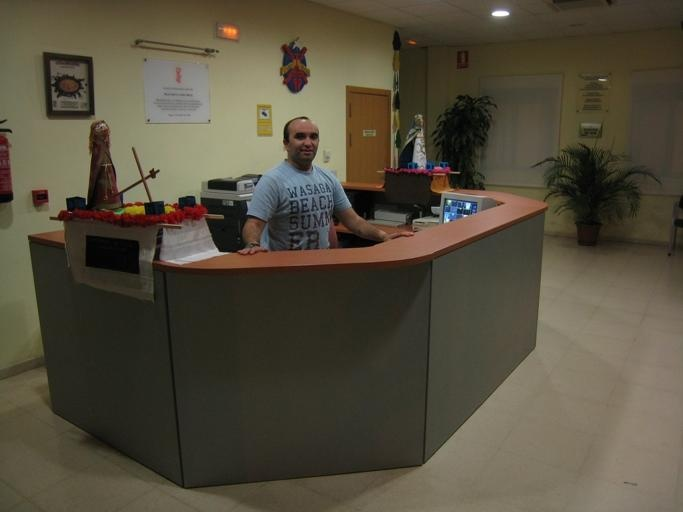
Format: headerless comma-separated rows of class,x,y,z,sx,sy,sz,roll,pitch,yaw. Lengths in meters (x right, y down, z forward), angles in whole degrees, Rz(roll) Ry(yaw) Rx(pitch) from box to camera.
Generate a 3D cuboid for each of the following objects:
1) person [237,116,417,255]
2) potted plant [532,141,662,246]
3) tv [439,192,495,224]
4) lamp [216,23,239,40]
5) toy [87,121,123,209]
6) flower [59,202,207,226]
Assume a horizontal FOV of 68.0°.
person,-0.205,-0.399,3.267,1.087,1.020,0.610,-6,10,-29
potted plant,4.012,-1.060,8.136,1.359,1.453,1.487,5,8,14
tv,0.984,-0.450,4.119,0.324,0.291,0.303,3,10,26
lamp,-1.128,-2.226,5.014,0.045,0.154,0.314,7,16,30
toy,-1.356,-0.515,2.860,0.194,0.483,0.189,-2,13,-10
flower,-1.179,-0.228,2.786,0.827,0.102,0.273,4,15,16
